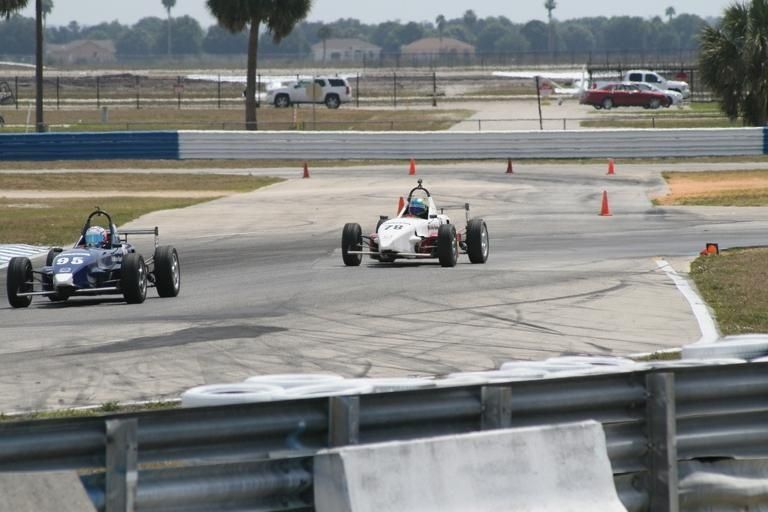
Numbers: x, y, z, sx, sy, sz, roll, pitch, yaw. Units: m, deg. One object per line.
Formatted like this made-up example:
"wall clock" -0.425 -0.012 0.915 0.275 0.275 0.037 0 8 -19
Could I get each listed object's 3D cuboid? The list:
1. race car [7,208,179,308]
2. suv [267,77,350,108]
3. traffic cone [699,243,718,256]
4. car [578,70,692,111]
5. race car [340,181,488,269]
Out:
"race car" -7.988 0.165 41.561 4.140 2.897 4.609 1 3 14
"suv" -3.868 -8.963 81.578 3.654 1.739 5.197 -5 8 -26
"traffic cone" 9.634 -0.157 43.809 0.528 0.317 0.486 0 7 9
"car" 13.630 -8.587 78.961 5.646 1.622 2.449 -4 10 -5
"race car" 0.926 -0.950 43.396 4.232 2.520 1.795 -2 7 -2
